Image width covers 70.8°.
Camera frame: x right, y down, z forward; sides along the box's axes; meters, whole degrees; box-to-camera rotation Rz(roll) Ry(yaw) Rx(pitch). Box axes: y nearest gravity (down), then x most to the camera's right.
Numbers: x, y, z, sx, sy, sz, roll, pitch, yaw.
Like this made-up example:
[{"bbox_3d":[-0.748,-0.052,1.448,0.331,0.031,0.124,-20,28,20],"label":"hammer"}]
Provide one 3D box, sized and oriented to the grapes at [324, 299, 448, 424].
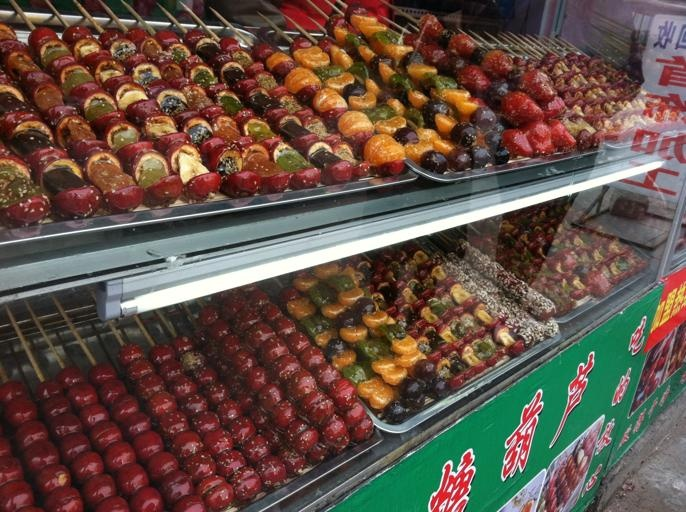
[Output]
[{"bbox_3d":[0.159,0.423,1.936,0.345,0.156,0.514,-34,65,-27],"label":"grapes"}]
